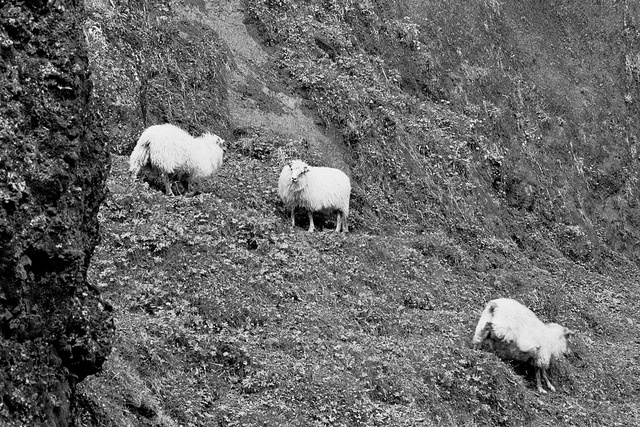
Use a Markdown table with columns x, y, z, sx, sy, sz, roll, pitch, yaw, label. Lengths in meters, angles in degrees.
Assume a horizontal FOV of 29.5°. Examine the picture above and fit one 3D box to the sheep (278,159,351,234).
| x | y | z | sx | sy | sz | roll | pitch | yaw | label |
| --- | --- | --- | --- | --- | --- | --- | --- | --- | --- |
| -0.231 | -0.571 | 41.400 | 1.477 | 2.209 | 3.040 | 9 | -1 | 37 | sheep |
